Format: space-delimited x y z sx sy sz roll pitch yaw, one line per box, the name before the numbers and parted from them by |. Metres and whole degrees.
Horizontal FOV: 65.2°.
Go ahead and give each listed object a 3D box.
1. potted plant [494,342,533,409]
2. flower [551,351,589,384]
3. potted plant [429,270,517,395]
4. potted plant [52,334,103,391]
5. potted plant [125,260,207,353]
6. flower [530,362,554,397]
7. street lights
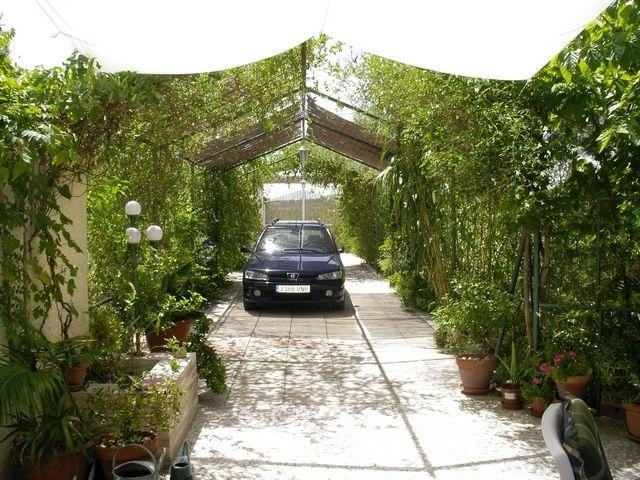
potted plant | 1.977 1.441 5.221 0.320 0.595 0.389 17 -11 -1
flower | 2.369 1.184 4.776 0.285 0.283 0.308 -9 16 -1
potted plant | 1.695 1.189 5.712 0.991 1.162 0.782 11 -21 -16
potted plant | -2.016 0.979 4.010 0.315 0.385 0.324 2 0 27
potted plant | -1.837 0.815 5.931 0.934 1.203 0.968 0 2 -2
flower | 2.198 1.362 4.924 0.219 0.365 0.352 3 6 26
street lights | -1.995 0.319 5.638 0.383 1.636 0.298 -4 26 -20
